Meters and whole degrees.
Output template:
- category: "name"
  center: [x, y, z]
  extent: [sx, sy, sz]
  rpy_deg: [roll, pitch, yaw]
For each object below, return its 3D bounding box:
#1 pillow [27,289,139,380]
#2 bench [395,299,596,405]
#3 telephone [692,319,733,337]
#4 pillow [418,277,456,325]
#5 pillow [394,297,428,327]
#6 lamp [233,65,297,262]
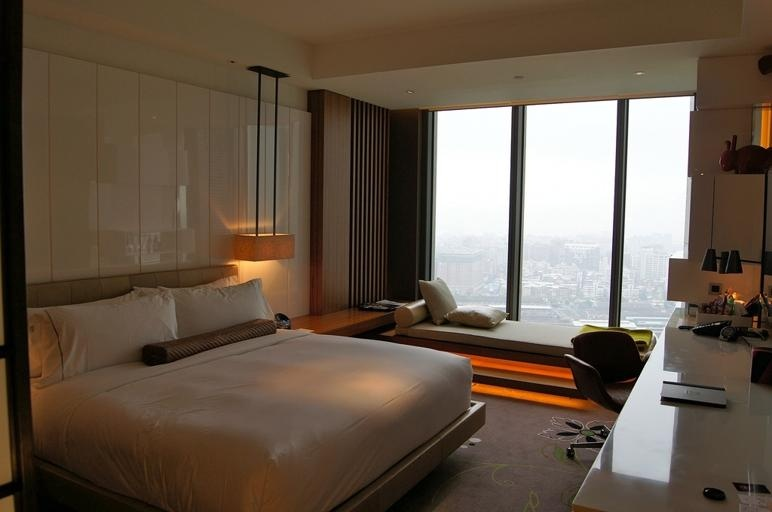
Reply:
- category: "pillow"
  center: [-1.870, 0.506, 3.471]
  extent: [0.133, 0.449, 0.465]
  rpy_deg: [-17, -10, 37]
- category: "bench"
  center: [1.041, 0.839, 5.422]
  extent: [1.308, 0.501, 0.930]
  rpy_deg: [2, 5, 25]
- category: "telephone"
  center: [2.273, 0.501, 3.906]
  extent: [0.212, 0.091, 0.119]
  rpy_deg: [-3, 10, 33]
- category: "pillow"
  center: [0.544, 0.503, 5.911]
  extent: [0.185, 0.339, 0.425]
  rpy_deg: [-8, -1, 31]
- category: "pillow"
  center: [0.252, 0.501, 5.788]
  extent: [0.208, 0.224, 0.530]
  rpy_deg: [-1, 3, 22]
- category: "lamp"
  center: [-1.066, -0.790, 5.029]
  extent: [0.427, 1.770, 0.963]
  rpy_deg: [2, 5, 10]
